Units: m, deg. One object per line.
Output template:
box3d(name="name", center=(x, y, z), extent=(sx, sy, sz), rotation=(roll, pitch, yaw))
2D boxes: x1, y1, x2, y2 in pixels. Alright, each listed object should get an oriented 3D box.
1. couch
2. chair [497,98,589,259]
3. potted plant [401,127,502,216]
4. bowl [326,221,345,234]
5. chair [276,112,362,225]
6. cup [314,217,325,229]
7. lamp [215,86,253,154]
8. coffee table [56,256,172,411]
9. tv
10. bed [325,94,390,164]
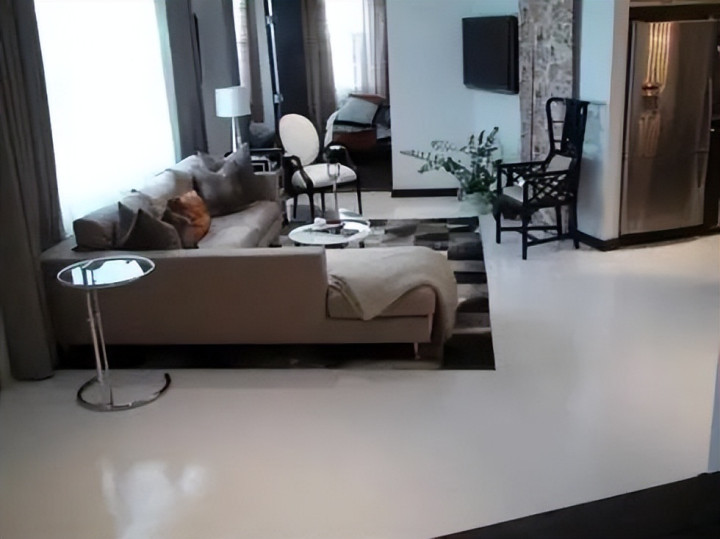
box3d(name="couch", center=(-0.792, -0.167, 4.283), extent=(2.491, 1.031, 1.761), rotation=(-2, 20, 5))
box3d(name="chair", center=(1.698, -0.936, 5.337), extent=(0.744, 1.383, 0.969), rotation=(-8, 20, -13))
box3d(name="potted plant", center=(1.144, -1.249, 6.806), extent=(1.035, 0.684, 1.133), rotation=(-1, 28, 4))
box3d(name="bowl", center=(-0.214, -0.359, 4.557), extent=(0.109, 0.073, 0.114), rotation=(-1, 24, 0))
box3d(name="chair", center=(-0.530, -1.235, 6.532), extent=(0.877, 1.295, 0.795), rotation=(7, 20, 39))
box3d(name="cup", center=(-0.342, -0.395, 4.651), extent=(0.070, 0.076, 0.094), rotation=(4, 26, 8))
box3d(name="lamp", center=(-1.472, -1.757, 6.497), extent=(0.368, 0.762, 1.221), rotation=(-8, 20, -12))
box3d(name="coffee table", center=(-1.478, 0.316, 3.218), extent=(0.546, 0.703, 0.583), rotation=(-10, 19, -25))
box3d(name="tv", center=(1.465, -2.404, 6.087), extent=(0.101, 0.724, 0.947), rotation=(-12, 24, -15))
box3d(name="bed", center=(0.030, -2.533, 9.670), extent=(1.657, 0.930, 1.062), rotation=(-3, 45, 0))
